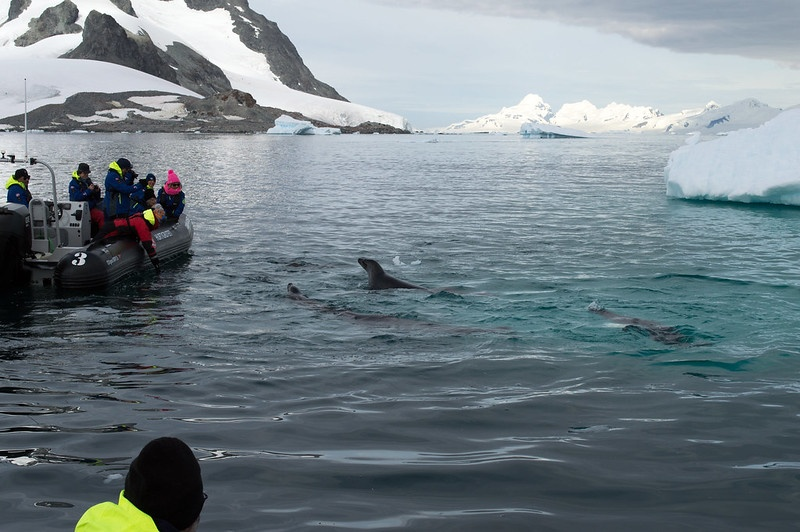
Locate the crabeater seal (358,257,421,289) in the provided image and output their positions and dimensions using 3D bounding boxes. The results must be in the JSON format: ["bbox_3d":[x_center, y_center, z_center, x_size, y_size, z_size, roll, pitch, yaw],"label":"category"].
[{"bbox_3d":[-0.370,0.224,19.942,1.647,0.659,0.783,11,16,43],"label":"crabeater seal"}]
